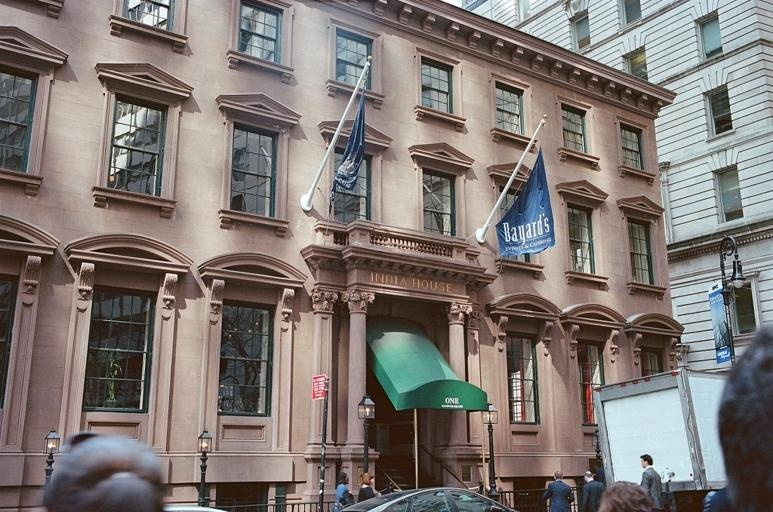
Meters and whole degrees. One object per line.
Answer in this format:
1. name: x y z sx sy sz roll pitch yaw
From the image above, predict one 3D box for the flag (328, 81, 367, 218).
1. flag: -1.334 -3.791 25.340 1.141 0.345 5.033 2 -43 -10
